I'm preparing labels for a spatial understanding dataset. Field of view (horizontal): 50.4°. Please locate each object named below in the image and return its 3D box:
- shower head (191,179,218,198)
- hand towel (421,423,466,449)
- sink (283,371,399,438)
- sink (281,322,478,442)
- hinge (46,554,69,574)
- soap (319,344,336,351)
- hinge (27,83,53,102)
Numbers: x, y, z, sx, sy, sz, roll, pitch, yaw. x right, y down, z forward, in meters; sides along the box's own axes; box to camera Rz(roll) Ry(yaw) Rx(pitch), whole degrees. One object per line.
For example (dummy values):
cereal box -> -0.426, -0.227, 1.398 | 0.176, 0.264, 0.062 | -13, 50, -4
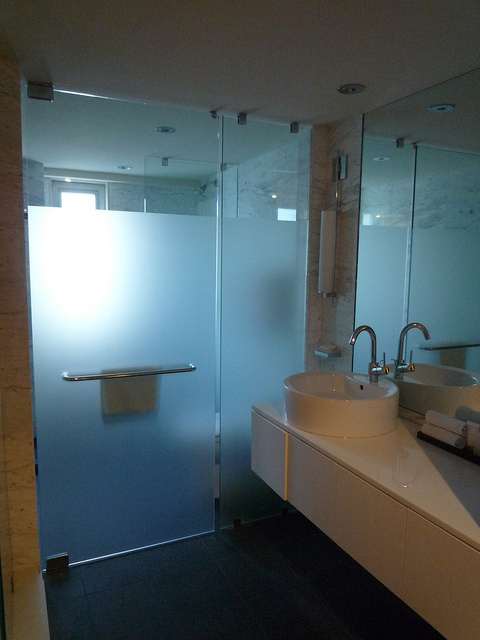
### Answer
shower head -> -0.179, -0.654, 2.542 | 0.161, 0.063, 0.052 | 0, -9, -39
hand towel -> 0.770, 0.435, 1.922 | 0.056, 0.048, 0.181 | -5, 7, -27
sink -> 0.434, 0.361, 2.237 | 0.470, 0.167, 0.496 | -1, 7, 5
sink -> 0.566, 0.207, 2.201 | 0.678, 0.335, 0.398 | -6, 12, -31
hinge -> -0.873, 1.164, 2.428 | 0.102, 0.081, 0.025 | -2, -3, -26
soap -> 0.477, 0.148, 2.775 | 0.066, 0.023, 0.096 | -7, 9, -39
hinge -> -0.826, -0.941, 2.108 | 0.098, 0.057, 0.026 | -6, 8, -34
